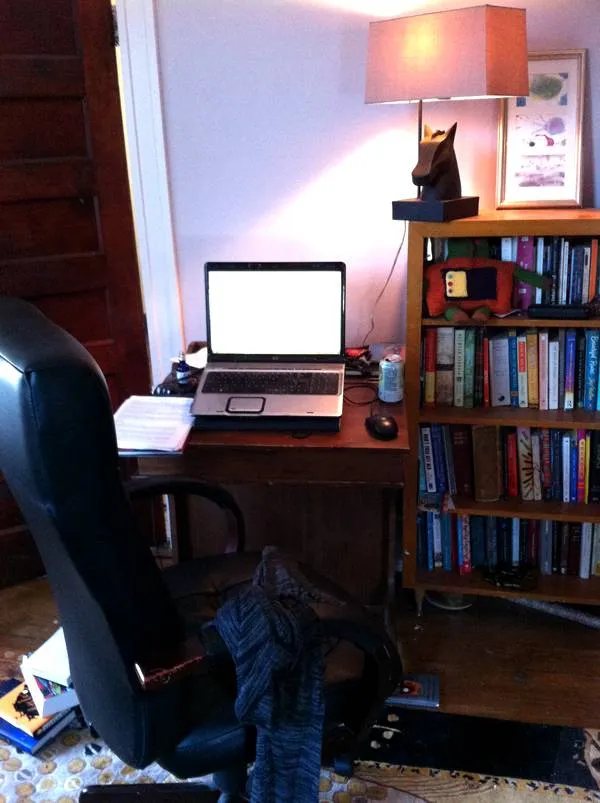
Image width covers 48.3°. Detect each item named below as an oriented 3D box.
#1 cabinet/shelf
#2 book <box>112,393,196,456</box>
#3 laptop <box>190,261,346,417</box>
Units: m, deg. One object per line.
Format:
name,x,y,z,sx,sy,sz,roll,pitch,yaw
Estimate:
cabinet/shelf,0.564,0.085,1.847,0.558,1.170,0.265,0,17,12
book,-0.341,0.059,1.579,0.137,0.027,0.198,-1,34,2
laptop,-0.066,-0.074,1.770,0.435,0.324,0.391,2,42,5
